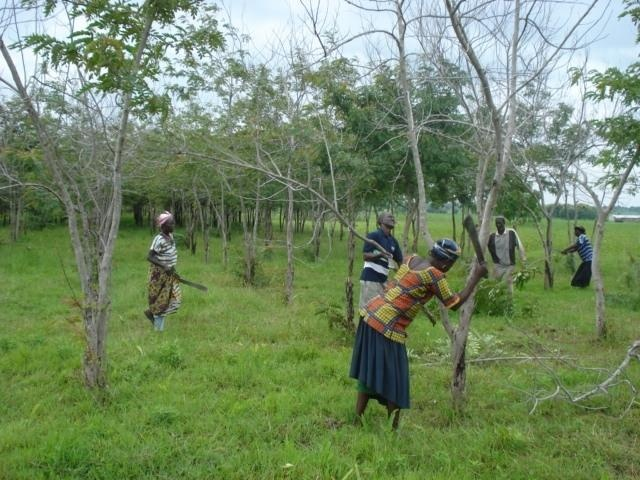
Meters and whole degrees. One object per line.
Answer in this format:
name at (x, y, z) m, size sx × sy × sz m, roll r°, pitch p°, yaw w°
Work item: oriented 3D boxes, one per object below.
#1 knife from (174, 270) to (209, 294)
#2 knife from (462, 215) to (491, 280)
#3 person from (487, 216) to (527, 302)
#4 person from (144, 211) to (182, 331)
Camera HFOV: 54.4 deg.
knife at (-3.533, 1.144, 17.105) m, size 0.181 × 0.246 × 1.122 m, roll 8°, pitch -20°, yaw 44°
knife at (2.297, 0.043, 9.189) m, size 0.268 × 1.056 × 0.116 m, roll -13°, pitch 2°, yaw -6°
person at (4.412, 0.545, 15.262) m, size 1.135 × 2.297 × 0.844 m, roll -7°, pitch 21°, yaw 5°
person at (-3.345, 0.697, 13.115) m, size 0.711 × 2.541 × 0.942 m, roll -3°, pitch 14°, yaw -15°
